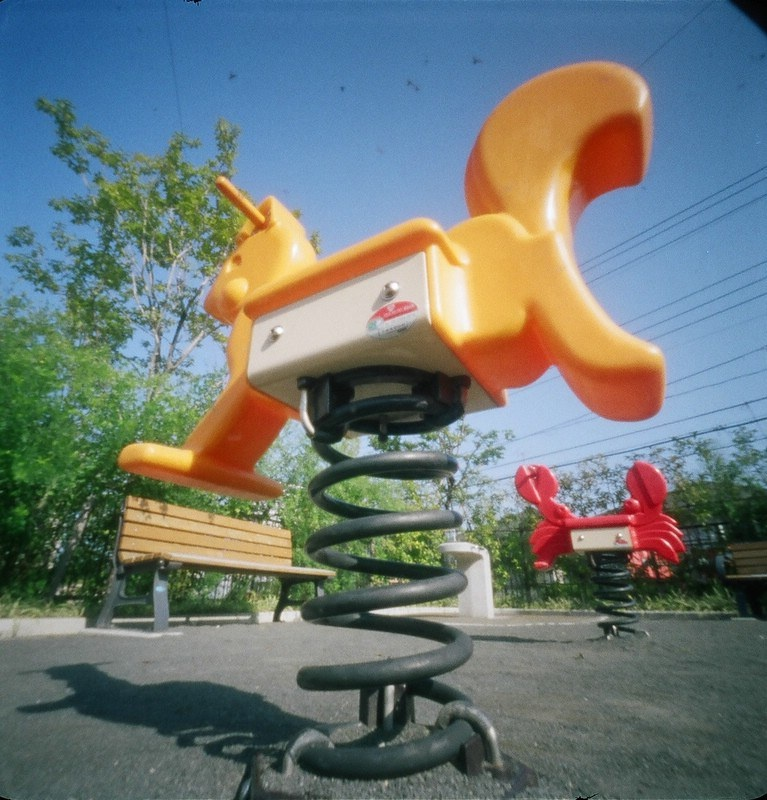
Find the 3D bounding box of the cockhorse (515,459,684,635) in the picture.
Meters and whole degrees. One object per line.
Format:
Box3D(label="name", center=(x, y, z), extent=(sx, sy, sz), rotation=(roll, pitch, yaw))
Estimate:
Box3D(label="cockhorse", center=(2.642, 1.807, 6.495), extent=(1.859, 1.889, 0.468), rotation=(-6, -23, 12))
